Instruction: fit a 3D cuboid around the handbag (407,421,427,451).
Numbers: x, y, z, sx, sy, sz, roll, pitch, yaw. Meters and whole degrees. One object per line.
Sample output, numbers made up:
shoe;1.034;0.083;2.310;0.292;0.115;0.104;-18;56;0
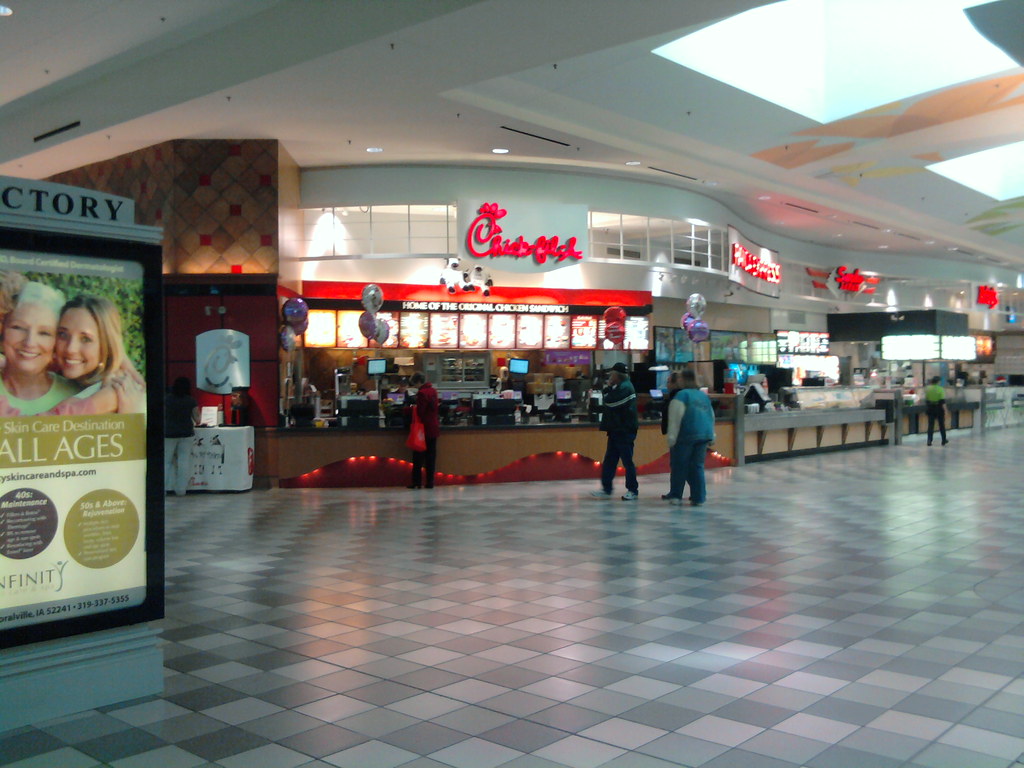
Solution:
handbag;-1.272;0.648;10.597;0.308;0.474;0.152;-4;3;-33

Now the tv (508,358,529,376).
tv;0.141;-0.316;13.779;0.485;0.340;0.255;1;-2;-28

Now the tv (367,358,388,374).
tv;-2.339;-0.309;13.485;0.371;0.246;0.333;0;1;4

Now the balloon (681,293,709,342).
balloon;3.840;-1.425;16.310;0.500;1.282;0.480;33;-53;-19

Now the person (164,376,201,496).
person;-4.559;0.725;10.593;0.409;1.149;0.711;-3;3;-22

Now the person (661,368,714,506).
person;2.133;0.746;9.253;0.570;1.405;0.539;-2;2;9

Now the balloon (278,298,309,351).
balloon;-3.419;-0.946;12.067;0.383;0.823;0.522;-3;2;-13

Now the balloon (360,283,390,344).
balloon;-2.535;-1.294;14.091;0.413;0.867;0.917;-20;25;-13

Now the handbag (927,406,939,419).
handbag;9.505;0.623;17.402;0.339;0.277;0.073;5;-12;-14

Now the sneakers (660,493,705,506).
sneakers;2.116;1.411;9.437;0.556;0.209;0.161;-6;2;5

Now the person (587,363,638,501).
person;1.378;0.587;9.936;0.462;1.716;0.522;-2;2;5
